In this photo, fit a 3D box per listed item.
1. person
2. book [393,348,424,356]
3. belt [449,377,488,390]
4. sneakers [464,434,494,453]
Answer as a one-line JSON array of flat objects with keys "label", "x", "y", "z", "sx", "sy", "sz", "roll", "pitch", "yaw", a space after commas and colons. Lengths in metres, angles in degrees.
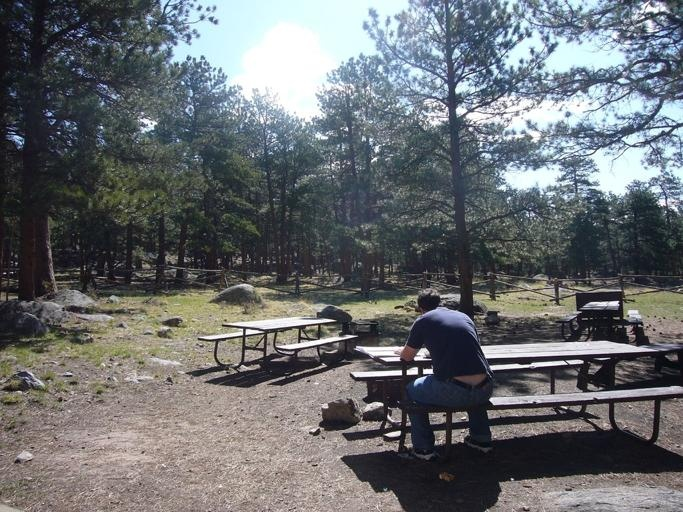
[{"label": "person", "x": 1.747, "y": 2.100, "z": 9.098, "sx": 1.461, "sy": 2.433, "sz": 0.723, "roll": 0, "pitch": 10, "yaw": 5}, {"label": "book", "x": 1.132, "y": 1.670, "z": 9.558, "sx": 0.358, "sy": 0.100, "sz": 0.380, "roll": -2, "pitch": -5, "yaw": 15}, {"label": "belt", "x": 2.071, "y": 2.045, "z": 8.856, "sx": 0.315, "sy": 0.098, "sz": 0.329, "roll": -2, "pitch": -3, "yaw": 27}, {"label": "sneakers", "x": 2.326, "y": 3.170, "z": 9.286, "sx": 0.192, "sy": 0.204, "sz": 0.471, "roll": 10, "pitch": -5, "yaw": -25}]
